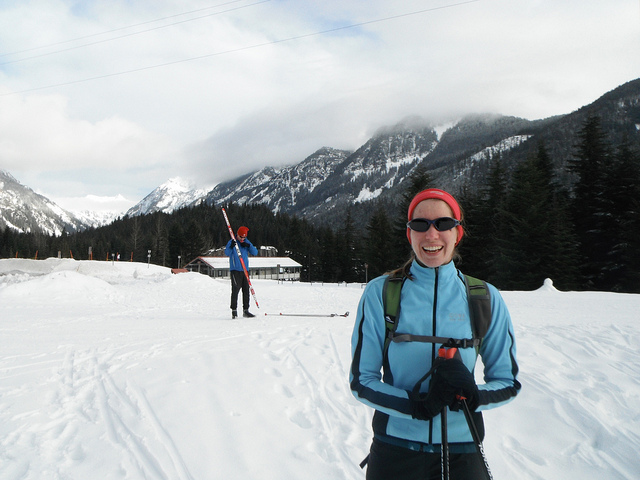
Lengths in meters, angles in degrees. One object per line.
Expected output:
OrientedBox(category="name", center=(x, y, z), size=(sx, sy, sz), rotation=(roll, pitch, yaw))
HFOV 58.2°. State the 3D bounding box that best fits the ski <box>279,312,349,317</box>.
OrientedBox(category="ski", center=(0.052, 2.163, 17.257), size=(1.673, 0.216, 0.172), rotation=(2, -4, 0))
